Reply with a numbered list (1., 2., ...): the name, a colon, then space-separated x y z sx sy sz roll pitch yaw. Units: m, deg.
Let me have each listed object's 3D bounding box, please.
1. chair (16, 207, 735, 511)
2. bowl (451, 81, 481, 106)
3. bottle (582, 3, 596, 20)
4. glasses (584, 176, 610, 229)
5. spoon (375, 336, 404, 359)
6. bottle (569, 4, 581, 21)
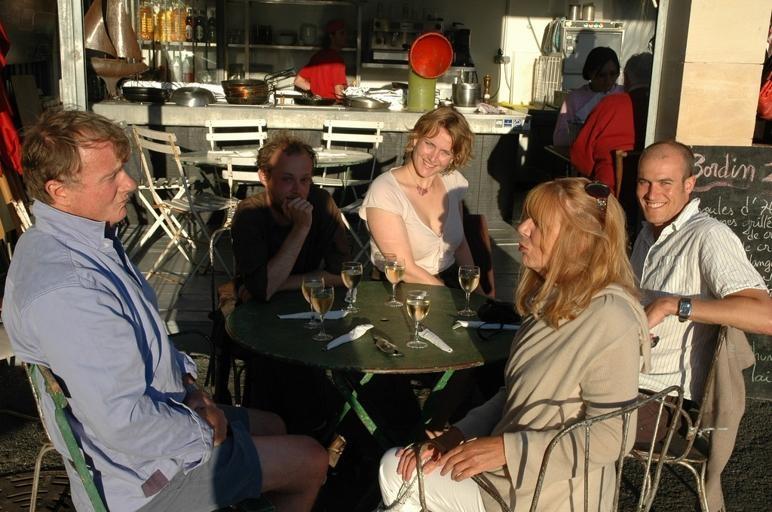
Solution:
1. chair: -0.441 0.299 3.191 1.957 1.095 1.082 -6 15 -23
2. bowl: 0.947 -1.894 7.998 0.313 0.240 0.318 0 22 0
3. bottle: 2.796 -3.419 9.641 0.149 0.207 0.310 -6 15 -21
4. glasses: 0.815 -0.221 2.630 0.101 0.154 0.060 1 2 9
5. spoon: -0.004 0.417 3.137 0.082 0.031 0.218 -7 15 -28
6. bottle: 2.678 -3.479 9.781 0.163 0.236 0.334 3 14 12
